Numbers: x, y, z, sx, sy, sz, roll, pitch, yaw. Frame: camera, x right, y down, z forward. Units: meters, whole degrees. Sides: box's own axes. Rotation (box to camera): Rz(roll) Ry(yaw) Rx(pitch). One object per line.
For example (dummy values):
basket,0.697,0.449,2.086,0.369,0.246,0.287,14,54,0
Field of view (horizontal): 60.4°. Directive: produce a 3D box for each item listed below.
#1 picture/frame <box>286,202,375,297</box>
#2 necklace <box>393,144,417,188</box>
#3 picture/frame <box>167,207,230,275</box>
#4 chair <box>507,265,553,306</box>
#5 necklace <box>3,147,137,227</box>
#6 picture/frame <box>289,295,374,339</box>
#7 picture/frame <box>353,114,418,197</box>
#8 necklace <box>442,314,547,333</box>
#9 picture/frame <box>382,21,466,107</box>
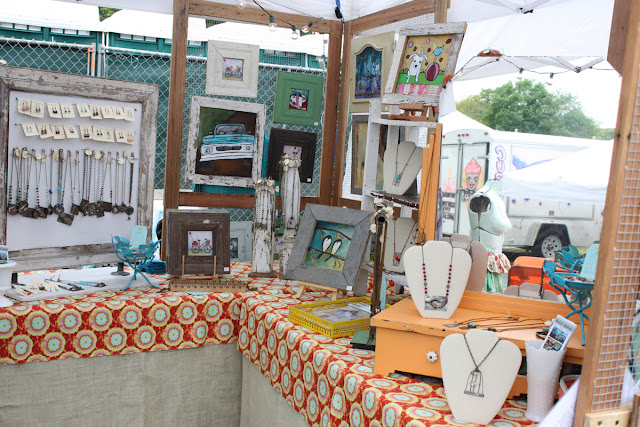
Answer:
picture/frame,0.059,0.215,3.132,0.508,0.503,0.291,7,4,25
necklace,0.485,-0.282,3.110,0.130,0.248,0.085,2,6,10
picture/frame,-0.735,0.174,3.258,0.389,0.404,0.042,1,-7,-14
chair,1.006,0.347,2.631,0.174,0.129,0.175,4,7,20
necklace,-1.426,-0.154,3.116,0.631,0.416,0.026,-2,6,-28
picture/frame,0.066,0.537,2.878,0.457,0.125,0.341,0,5,-9
picture/frame,0.401,-0.355,3.289,0.053,0.517,0.515,-2,12,-24
necklace,0.766,0.472,2.379,0.482,0.028,0.147,0,5,-12
picture/frame,0.557,-0.802,2.969,0.400,0.455,0.151,5,7,34
